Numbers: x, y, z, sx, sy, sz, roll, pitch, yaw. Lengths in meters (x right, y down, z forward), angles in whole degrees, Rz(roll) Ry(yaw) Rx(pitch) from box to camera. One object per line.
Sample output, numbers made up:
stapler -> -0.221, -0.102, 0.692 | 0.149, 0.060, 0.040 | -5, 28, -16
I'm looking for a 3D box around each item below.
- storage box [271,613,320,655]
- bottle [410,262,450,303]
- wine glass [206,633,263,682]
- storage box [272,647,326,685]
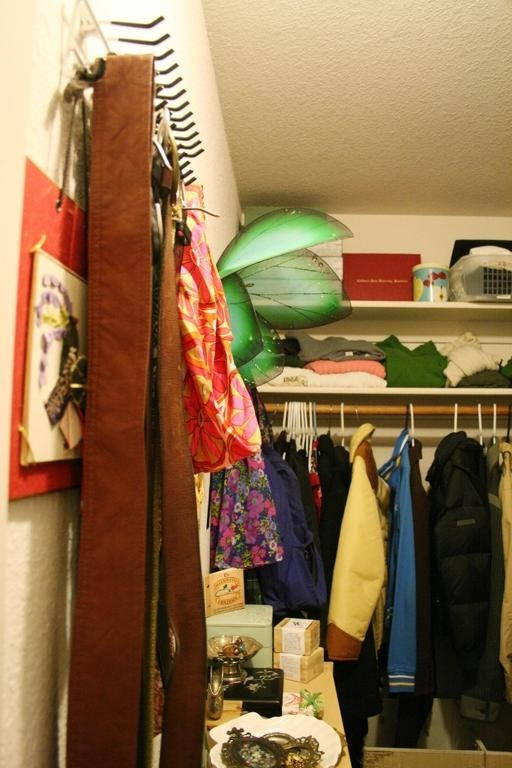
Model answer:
storage box -> 0.100, 0.586, 1.456 | 0.075, 0.053, 0.078 | -1, 1, 17
bottle -> 0.648, -0.363, 2.322 | 0.133, 0.161, 0.141 | -4, -7, 31
wine glass -> -0.042, 0.558, 1.259 | 0.084, 0.047, 0.088 | 3, 1, -9
storage box -> 0.106, 0.639, 1.429 | 0.081, 0.058, 0.086 | -5, -5, 33
